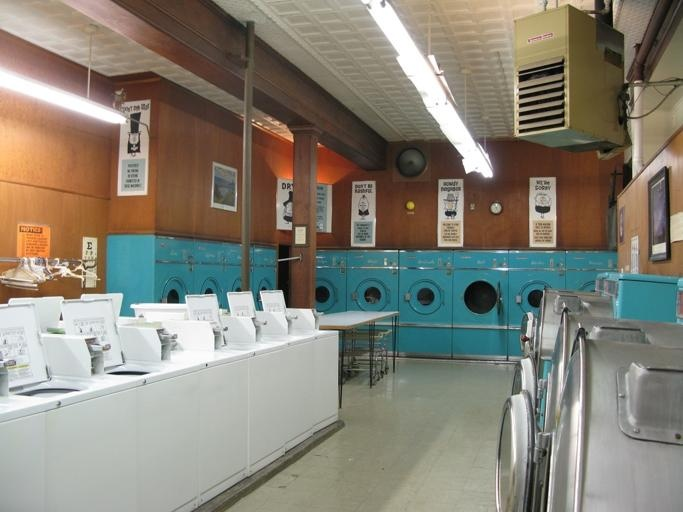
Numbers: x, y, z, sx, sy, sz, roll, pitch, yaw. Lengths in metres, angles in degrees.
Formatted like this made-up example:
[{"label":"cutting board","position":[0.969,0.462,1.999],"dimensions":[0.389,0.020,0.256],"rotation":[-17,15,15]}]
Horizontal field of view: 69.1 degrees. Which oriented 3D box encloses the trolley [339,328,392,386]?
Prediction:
[{"label":"trolley","position":[0.415,1.728,8.531],"dimensions":[0.651,0.886,1.302],"rotation":[-1,-2,11]}]
